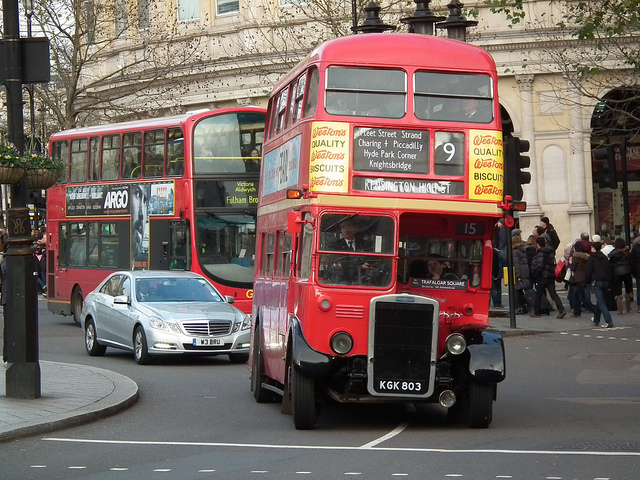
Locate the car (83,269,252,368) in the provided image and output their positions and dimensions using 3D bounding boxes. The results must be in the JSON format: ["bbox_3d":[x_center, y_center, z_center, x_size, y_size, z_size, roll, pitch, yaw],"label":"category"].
[{"bbox_3d":[-3.764,1.764,17.005,1.921,1.423,4.193,2,-5,-27],"label":"car"}]

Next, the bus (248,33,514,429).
[{"bbox_3d":[0.601,-0.223,9.685,3.559,5.070,2.468,-1,-2,22],"label":"bus"}]

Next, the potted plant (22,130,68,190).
[{"bbox_3d":[-4.180,-1.084,11.038,0.417,0.602,1.060,0,-2,3],"label":"potted plant"}]
